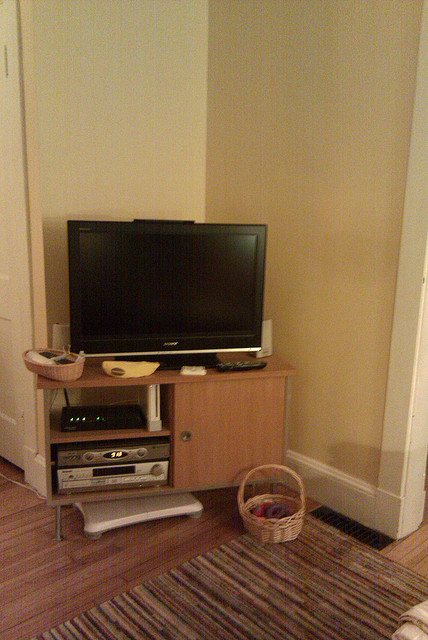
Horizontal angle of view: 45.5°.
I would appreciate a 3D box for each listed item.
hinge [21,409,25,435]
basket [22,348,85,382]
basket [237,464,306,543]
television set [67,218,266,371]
[{"bbox_3d":[-0.852,0.460,2.290,0.009,0.125,0.052,-3,9,-25],"label":"hinge"},{"bbox_3d":[-0.571,0.162,1.821,0.253,0.087,0.197,4,8,20],"label":"basket"},{"bbox_3d":[0.226,0.679,1.938,0.249,0.237,0.233,-5,2,-15],"label":"basket"},{"bbox_3d":[-0.177,-0.093,2.042,0.783,0.598,0.151,-2,9,-15],"label":"television set"}]
